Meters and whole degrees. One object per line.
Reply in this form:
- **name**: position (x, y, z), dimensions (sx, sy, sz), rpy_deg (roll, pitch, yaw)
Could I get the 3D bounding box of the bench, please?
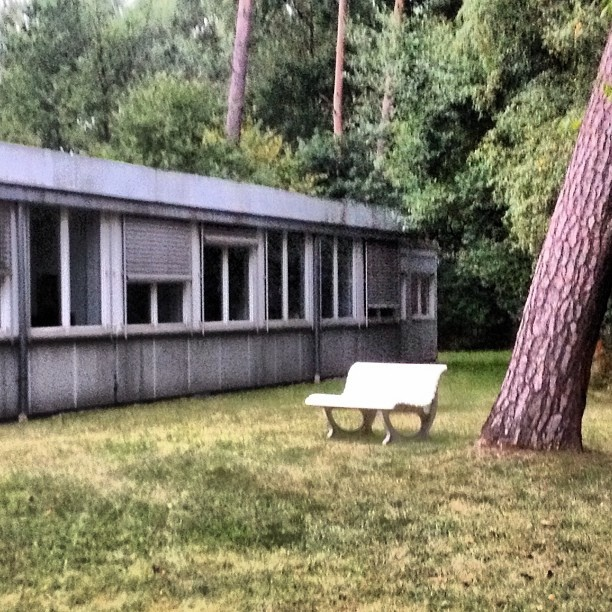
- **bench**: position (0.887, 1.136, 18.032), dimensions (1.363, 1.010, 1.512), rpy_deg (6, 14, 28)
